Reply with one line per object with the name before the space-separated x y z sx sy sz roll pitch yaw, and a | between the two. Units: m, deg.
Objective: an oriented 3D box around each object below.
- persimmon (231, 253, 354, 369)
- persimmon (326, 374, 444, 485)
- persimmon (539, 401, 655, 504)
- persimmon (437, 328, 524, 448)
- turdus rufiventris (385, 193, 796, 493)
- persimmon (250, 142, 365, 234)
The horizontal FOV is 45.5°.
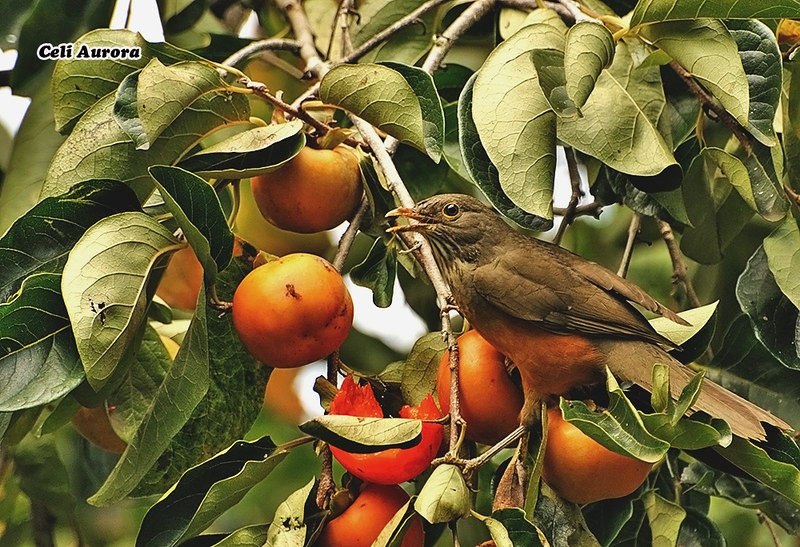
persimmon | -0.399 0.156 3.564 0.449 0.391 0.224 -6 29 -13
persimmon | -0.051 0.610 3.497 0.364 0.429 0.312 0 16 -15
persimmon | 0.710 0.645 3.589 0.342 0.374 0.353 -15 13 -27
persimmon | 0.320 0.433 3.694 0.323 0.404 0.429 20 24 25
turdus rufiventris | 0.749 0.188 3.958 1.479 0.997 0.513 2 7 14
persimmon | -0.340 -0.356 3.765 0.415 0.343 0.354 -10 10 -41
